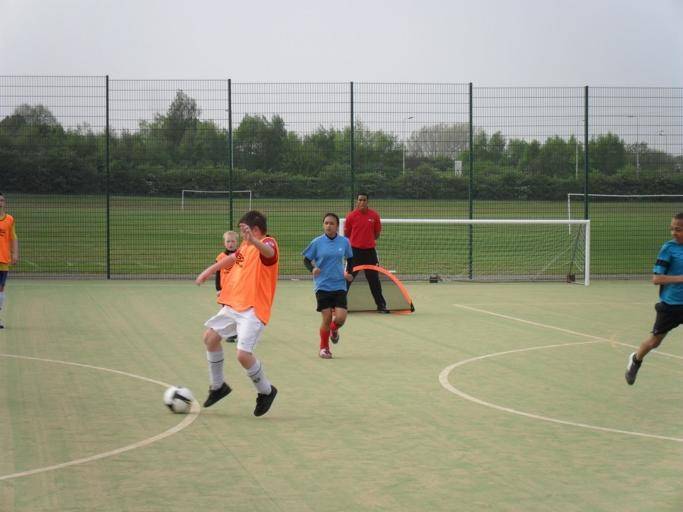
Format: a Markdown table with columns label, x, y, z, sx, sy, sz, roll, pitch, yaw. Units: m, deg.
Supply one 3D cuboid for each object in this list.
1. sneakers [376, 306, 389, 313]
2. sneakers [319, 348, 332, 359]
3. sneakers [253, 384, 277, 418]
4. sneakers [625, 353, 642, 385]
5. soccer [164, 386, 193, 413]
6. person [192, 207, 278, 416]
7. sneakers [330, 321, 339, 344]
| label | x | y | z | sx | sy | sz | roll | pitch | yaw |
| --- | --- | --- | --- | --- | --- | --- | --- | --- | --- |
| sneakers | 0.766 | 0.972 | 14.571 | 0.096 | 0.079 | 0.199 | 2 | -5 | -37 |
| sneakers | -0.210 | 1.275 | 10.666 | 0.161 | 0.124 | 0.173 | 0 | 5 | -2 |
| sneakers | -0.801 | 1.477 | 8.181 | 0.141 | 0.379 | 0.174 | 17 | -14 | 41 |
| sneakers | 3.371 | 1.303 | 9.268 | 0.149 | 0.378 | 0.227 | 2 | 5 | 17 |
| soccer | -1.646 | 1.457 | 8.182 | 0.291 | 0.262 | 0.260 | 4 | 23 | -9 |
| person | -1.017 | 0.578 | 8.137 | 0.826 | 2.064 | 0.670 | 4 | 5 | 34 |
| sneakers | -0.095 | 1.062 | 11.263 | 0.116 | 0.305 | 0.126 | -4 | -5 | -2 |
